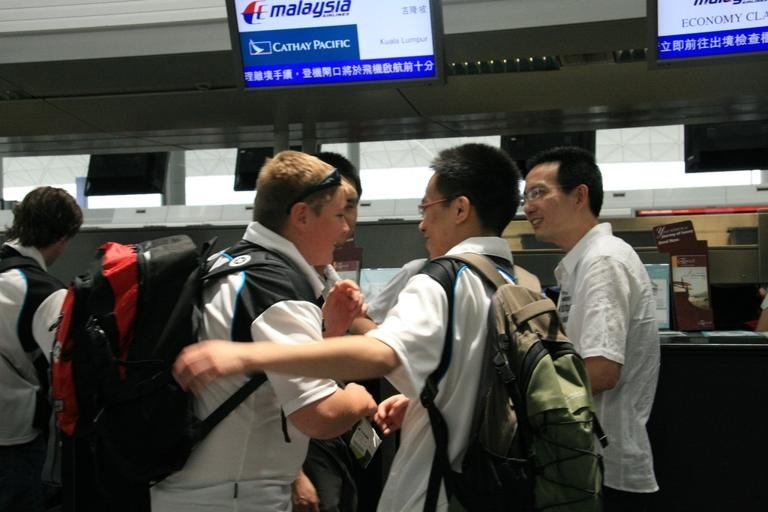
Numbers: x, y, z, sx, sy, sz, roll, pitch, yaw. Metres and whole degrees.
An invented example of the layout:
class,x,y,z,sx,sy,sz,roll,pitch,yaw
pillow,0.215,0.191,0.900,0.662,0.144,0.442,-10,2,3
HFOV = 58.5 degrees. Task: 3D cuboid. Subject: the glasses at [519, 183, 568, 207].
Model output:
class,x,y,z,sx,sy,sz,roll,pitch,yaw
glasses,0.838,-0.331,3.709,0.186,0.051,0.187,0,-18,-32
